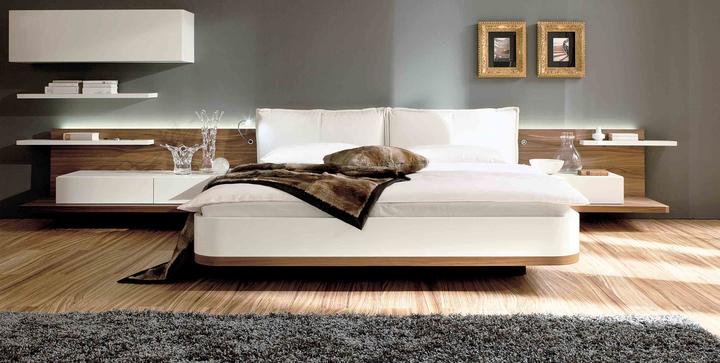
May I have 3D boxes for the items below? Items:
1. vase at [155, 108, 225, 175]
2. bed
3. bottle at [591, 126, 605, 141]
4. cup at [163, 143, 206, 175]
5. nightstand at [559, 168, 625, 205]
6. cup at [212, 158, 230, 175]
[{"bbox_3d":[-2.464,-0.525,6.600,1.150,0.840,0.875,1,1,4],"label":"vase"},{"bbox_3d":[0.247,-0.027,5.477,3.787,1.590,2.255,-1,10,1],"label":"bed"},{"bbox_3d":[3.161,-0.634,6.358,0.207,0.190,0.209,4,6,44],"label":"bottle"},{"bbox_3d":[-2.353,-0.286,6.385,0.560,0.262,0.490,0,-2,-2],"label":"cup"},{"bbox_3d":[2.984,0.088,5.991,0.854,0.301,0.546,1,3,9],"label":"nightstand"},{"bbox_3d":[-1.726,-0.177,5.958,0.240,0.189,0.207,8,20,18],"label":"cup"}]
